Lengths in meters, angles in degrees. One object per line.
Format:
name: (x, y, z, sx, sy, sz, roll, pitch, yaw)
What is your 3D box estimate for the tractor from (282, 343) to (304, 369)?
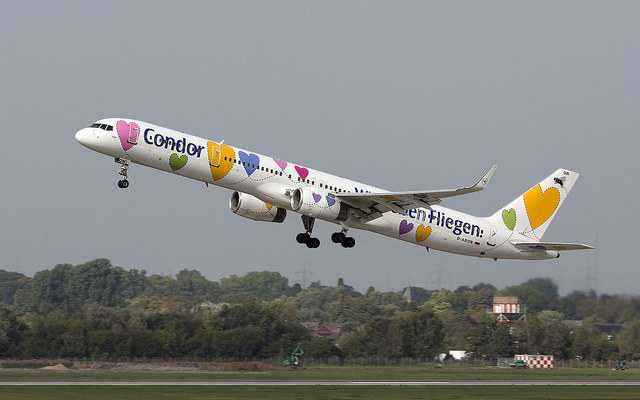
tractor: (-2.757, 15.945, 116.069, 1.947, 3.262, 5.852, 4, -19, 0)

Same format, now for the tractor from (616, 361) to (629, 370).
tractor: (30.987, 17.068, 118.320, 1.112, 0.986, 1.556, -2, -20, 14)

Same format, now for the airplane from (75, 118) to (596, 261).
airplane: (2.003, -0.720, 97.539, 39.734, 8.180, 4.111, 7, -22, -15)
